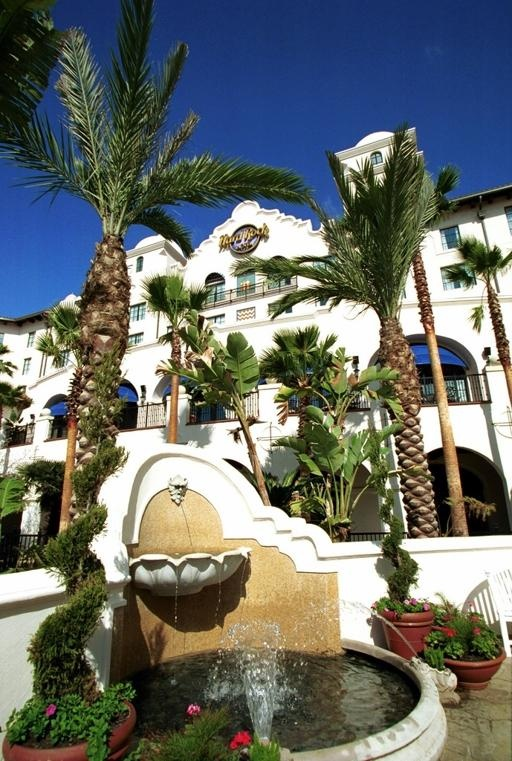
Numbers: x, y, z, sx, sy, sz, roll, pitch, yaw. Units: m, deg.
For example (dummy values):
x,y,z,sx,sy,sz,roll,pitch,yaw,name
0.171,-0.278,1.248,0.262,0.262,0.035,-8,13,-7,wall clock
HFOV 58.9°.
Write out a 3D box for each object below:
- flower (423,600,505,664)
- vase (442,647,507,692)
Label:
x,y,z,sx,sy,sz,roll,pitch,yaw,name
2.723,3.514,6.222,1.070,0.416,1.086,-11,-13,32,flower
2.743,3.637,5.777,0.616,0.238,0.556,3,-18,-11,vase
